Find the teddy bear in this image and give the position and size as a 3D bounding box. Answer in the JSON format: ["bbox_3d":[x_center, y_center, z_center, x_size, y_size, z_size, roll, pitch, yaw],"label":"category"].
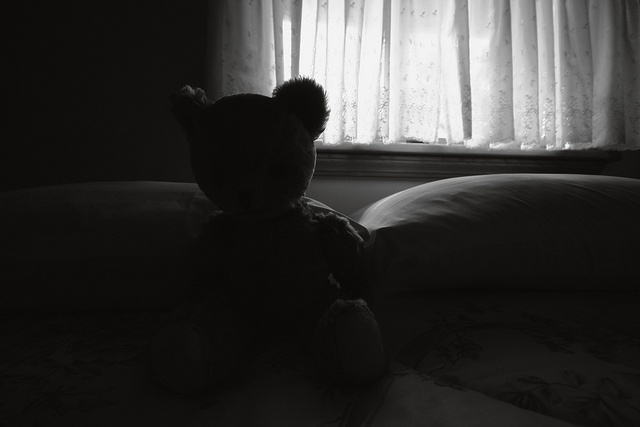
[{"bbox_3d":[-0.104,0.034,0.855,0.371,0.520,0.344,-8,7,-16],"label":"teddy bear"}]
